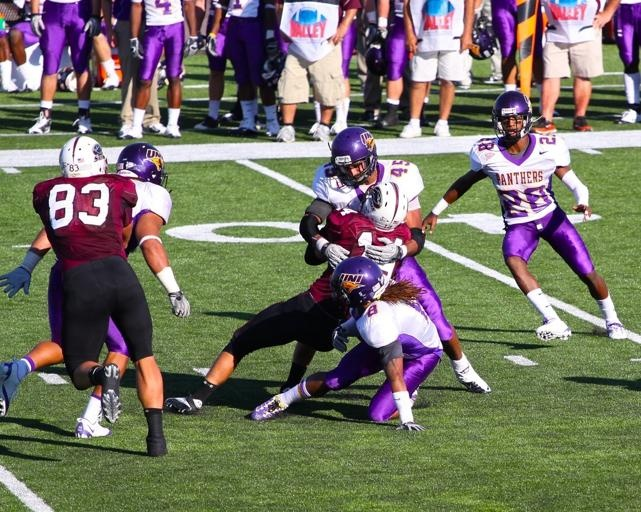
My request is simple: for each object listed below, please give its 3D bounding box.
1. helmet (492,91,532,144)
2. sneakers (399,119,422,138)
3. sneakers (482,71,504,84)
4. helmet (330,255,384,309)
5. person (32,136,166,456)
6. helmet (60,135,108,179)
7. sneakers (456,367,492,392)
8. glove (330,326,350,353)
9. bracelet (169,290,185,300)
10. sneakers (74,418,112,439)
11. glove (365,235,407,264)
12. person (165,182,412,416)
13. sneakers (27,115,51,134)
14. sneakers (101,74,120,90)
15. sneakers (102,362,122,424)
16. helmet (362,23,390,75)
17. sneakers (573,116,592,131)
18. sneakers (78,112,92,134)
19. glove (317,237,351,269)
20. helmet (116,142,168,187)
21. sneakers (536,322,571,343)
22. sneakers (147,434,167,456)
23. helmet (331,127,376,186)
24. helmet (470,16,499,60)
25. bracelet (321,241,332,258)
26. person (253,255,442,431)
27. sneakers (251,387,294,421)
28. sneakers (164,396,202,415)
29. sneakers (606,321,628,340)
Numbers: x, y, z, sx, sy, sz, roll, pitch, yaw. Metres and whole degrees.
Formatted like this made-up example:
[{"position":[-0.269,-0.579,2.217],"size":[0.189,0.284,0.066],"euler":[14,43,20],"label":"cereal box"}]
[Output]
[{"position":[1.232,-0.908,7.462],"size":[0.249,0.266,0.334],"euler":[0,26,15],"label":"helmet"},{"position":[1.030,-1.456,13.180],"size":[0.116,0.143,0.346],"euler":[3,8,27],"label":"sneakers"},{"position":[2.802,-2.868,18.483],"size":[0.379,0.167,0.135],"euler":[3,20,25],"label":"sneakers"},{"position":[0.204,0.124,5.783],"size":[0.270,0.217,0.194],"euler":[-27,21,20],"label":"helmet"},{"position":[-1.054,0.193,5.525],"size":[0.492,1.442,0.848],"euler":[-7,16,-21],"label":"person"},{"position":[-1.198,-0.503,5.736],"size":[0.175,0.194,0.237],"euler":[7,24,17],"label":"helmet"},{"position":[0.845,0.693,6.374],"size":[0.137,0.047,0.094],"euler":[28,-18,-6],"label":"sneakers"},{"position":[0.119,0.434,6.015],"size":[0.054,0.097,0.127],"euler":[17,37,-41],"label":"glove"},{"position":[-0.728,0.199,5.799],"size":[0.056,0.029,0.041],"euler":[2,5,2],"label":"bracelet"},{"position":[-1.131,0.858,5.708],"size":[0.207,0.086,0.073],"euler":[1,9,-36],"label":"sneakers"},{"position":[0.344,-0.031,6.017],"size":[0.201,0.120,0.079],"euler":[-10,-26,-5],"label":"glove"},{"position":[-0.257,0.396,6.190],"size":[1.279,1.254,0.841],"euler":[15,-24,-1],"label":"person"},{"position":[-3.342,-1.561,13.587],"size":[0.259,0.249,0.352],"euler":[-5,15,-16],"label":"sneakers"},{"position":[-3.151,-2.585,17.151],"size":[0.167,0.124,0.258],"euler":[10,10,12],"label":"sneakers"},{"position":[-0.970,0.636,5.329],"size":[0.092,0.263,0.115],"euler":[3,-12,-25],"label":"sneakers"},{"position":[0.620,-2.449,13.386],"size":[0.243,0.538,0.320],"euler":[-6,-27,10],"label":"helmet"},{"position":[3.059,-1.547,13.446],"size":[0.108,0.126,0.287],"euler":[-5,11,-14],"label":"sneakers"},{"position":[-2.796,-1.559,13.484],"size":[0.125,0.151,0.361],"euler":[0,10,-3],"label":"sneakers"},{"position":[0.069,-0.023,6.095],"size":[0.052,0.121,0.166],"euler":[-3,33,-45],"label":"glove"},{"position":[-0.983,-0.502,6.244],"size":[0.201,0.214,0.279],"euler":[5,6,31],"label":"helmet"},{"position":[1.436,0.452,7.101],"size":[0.266,0.095,0.133],"euler":[-1,33,-34],"label":"sneakers"},{"position":[-0.765,0.881,5.379],"size":[0.060,0.122,0.128],"euler":[1,16,12],"label":"sneakers"},{"position":[0.182,-0.544,6.342],"size":[0.256,0.317,0.254],"euler":[0,15,3],"label":"helmet"},{"position":[2.089,-2.873,14.821],"size":[0.493,0.580,0.553],"euler":[2,-4,5],"label":"helmet"},{"position":[0.024,-0.034,6.087],"size":[0.043,0.060,0.051],"euler":[6,19,-10],"label":"bracelet"},{"position":[0.187,0.423,5.964],"size":[0.815,0.894,0.522],"euler":[3,15,16],"label":"person"},{"position":[-0.294,0.805,6.042],"size":[0.267,0.090,0.113],"euler":[-27,2,13],"label":"sneakers"},{"position":[-0.722,0.788,6.044],"size":[0.162,0.066,0.098],"euler":[0,1,0],"label":"sneakers"},{"position":[1.862,0.473,7.195],"size":[0.079,0.064,0.144],"euler":[-12,18,-4],"label":"sneakers"}]
